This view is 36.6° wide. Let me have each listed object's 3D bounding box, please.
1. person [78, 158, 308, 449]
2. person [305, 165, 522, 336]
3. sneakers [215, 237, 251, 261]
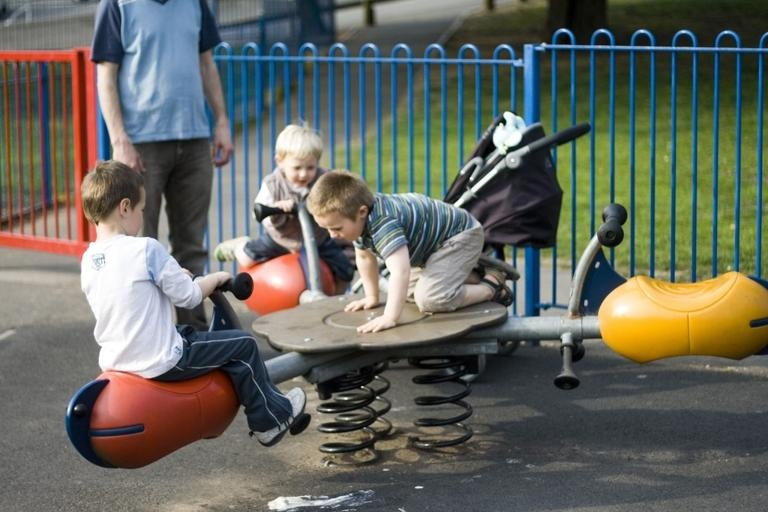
[{"bbox_3d":[-1.300,0.338,7.448,1.177,1.836,0.526,-5,16,-5],"label":"person"},{"bbox_3d":[0.168,-0.089,8.409,1.324,1.150,0.982,-9,8,-14],"label":"person"},{"bbox_3d":[-1.280,-0.057,9.651,0.374,0.165,0.140,-4,-6,31],"label":"sneakers"}]
